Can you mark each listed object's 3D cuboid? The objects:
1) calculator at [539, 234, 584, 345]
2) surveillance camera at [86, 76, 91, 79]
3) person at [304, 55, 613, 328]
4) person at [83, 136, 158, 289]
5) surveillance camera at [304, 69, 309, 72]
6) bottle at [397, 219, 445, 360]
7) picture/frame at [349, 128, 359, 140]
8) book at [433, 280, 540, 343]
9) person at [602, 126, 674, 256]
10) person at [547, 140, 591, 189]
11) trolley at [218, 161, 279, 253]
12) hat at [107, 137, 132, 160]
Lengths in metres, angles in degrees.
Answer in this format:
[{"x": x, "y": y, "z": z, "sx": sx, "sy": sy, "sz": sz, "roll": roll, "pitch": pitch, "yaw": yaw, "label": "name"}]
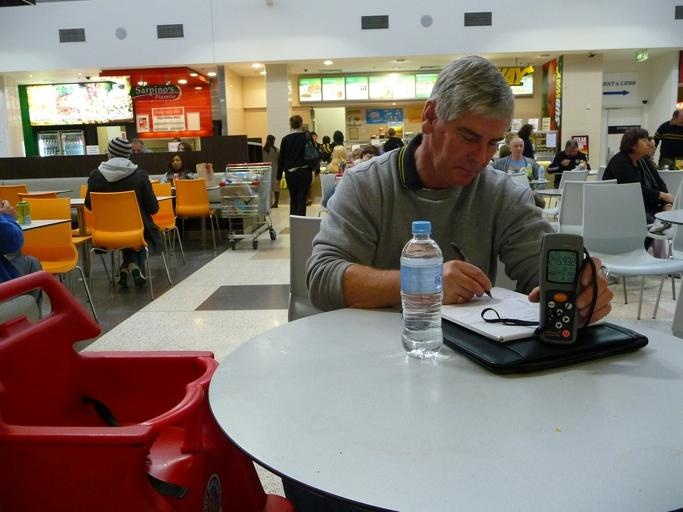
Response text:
[{"x": 0.500, "y": 0.076, "z": 1.179, "sx": 0.097, "sy": 0.248, "sz": 0.032, "roll": 2, "pitch": 2, "yaw": 0, "label": "calculator"}, {"x": -5.975, "y": -4.187, "z": 12.085, "sx": 0.068, "sy": 0.053, "sz": 0.071, "roll": 0, "pitch": 2, "yaw": 16, "label": "surveillance camera"}, {"x": 0.271, "y": -0.157, "z": 1.844, "sx": 0.717, "sy": 0.956, "sz": 0.956, "roll": 0, "pitch": 4, "yaw": -15, "label": "person"}, {"x": -2.133, "y": -0.417, "z": 5.058, "sx": 0.678, "sy": 1.468, "sz": 0.618, "roll": 7, "pitch": 11, "yaw": 38, "label": "person"}, {"x": -0.846, "y": -4.391, "z": 12.184, "sx": 0.077, "sy": 0.044, "sz": 0.076, "roll": -2, "pitch": 8, "yaw": 0, "label": "surveillance camera"}, {"x": 0.195, "y": 0.075, "z": 1.243, "sx": 0.099, "sy": 0.315, "sz": 0.102, "roll": -2, "pitch": 10, "yaw": 0, "label": "bottle"}, {"x": 0.328, "y": -3.201, "z": 13.475, "sx": 0.276, "sy": 0.281, "sz": 0.069, "roll": 2, "pitch": 10, "yaw": 6, "label": "picture/frame"}, {"x": 0.412, "y": 0.139, "z": 1.304, "sx": 0.304, "sy": 0.043, "sz": 0.261, "roll": -10, "pitch": 14, "yaw": -38, "label": "book"}, {"x": 2.836, "y": -0.599, "z": 4.968, "sx": 0.520, "sy": 1.244, "sz": 0.714, "roll": -12, "pitch": 20, "yaw": -29, "label": "person"}, {"x": 3.829, "y": -1.266, "z": 8.581, "sx": 0.605, "sy": 1.341, "sz": 0.551, "roll": -24, "pitch": 26, "yaw": -34, "label": "person"}, {"x": -1.181, "y": -0.711, "z": 6.717, "sx": 0.654, "sy": 1.298, "sz": 0.830, "roll": 0, "pitch": 10, "yaw": 8, "label": "trolley"}, {"x": -2.154, "y": -1.042, "z": 4.988, "sx": 0.173, "sy": 0.200, "sz": 0.231, "roll": 1, "pitch": 11, "yaw": -17, "label": "hat"}]
